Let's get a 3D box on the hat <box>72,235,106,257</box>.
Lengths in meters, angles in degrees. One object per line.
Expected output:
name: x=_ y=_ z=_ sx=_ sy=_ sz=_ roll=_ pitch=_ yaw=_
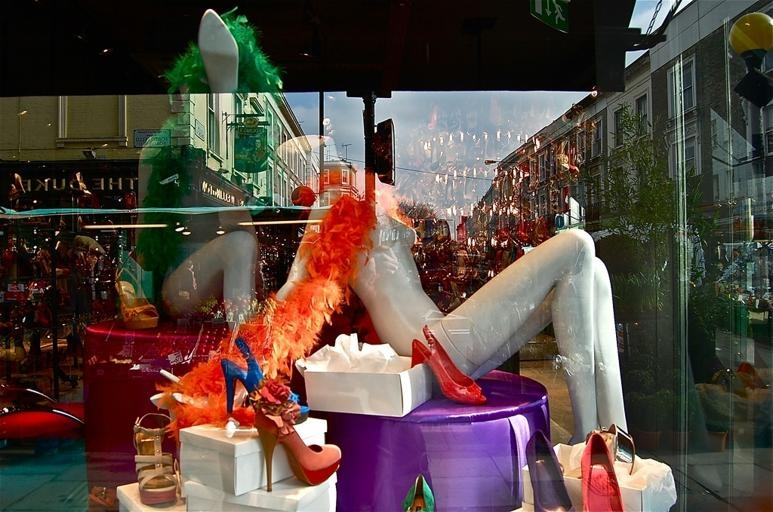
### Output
hat: x=-1.388 y=-0.040 z=2.886 sx=0.094 sy=0.027 sz=0.089 roll=22 pitch=5 yaw=24

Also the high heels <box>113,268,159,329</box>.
high heels: x=-1.183 y=0.232 z=2.923 sx=0.110 sy=0.071 sz=0.367 roll=-9 pitch=49 yaw=-33

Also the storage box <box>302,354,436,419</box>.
storage box: x=-0.076 y=0.575 z=2.710 sx=0.577 sy=0.222 sz=0.207 roll=1 pitch=-1 yaw=-4

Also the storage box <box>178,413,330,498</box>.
storage box: x=-0.602 y=0.742 z=2.496 sx=0.322 sy=0.157 sz=0.334 roll=-2 pitch=-2 yaw=34
